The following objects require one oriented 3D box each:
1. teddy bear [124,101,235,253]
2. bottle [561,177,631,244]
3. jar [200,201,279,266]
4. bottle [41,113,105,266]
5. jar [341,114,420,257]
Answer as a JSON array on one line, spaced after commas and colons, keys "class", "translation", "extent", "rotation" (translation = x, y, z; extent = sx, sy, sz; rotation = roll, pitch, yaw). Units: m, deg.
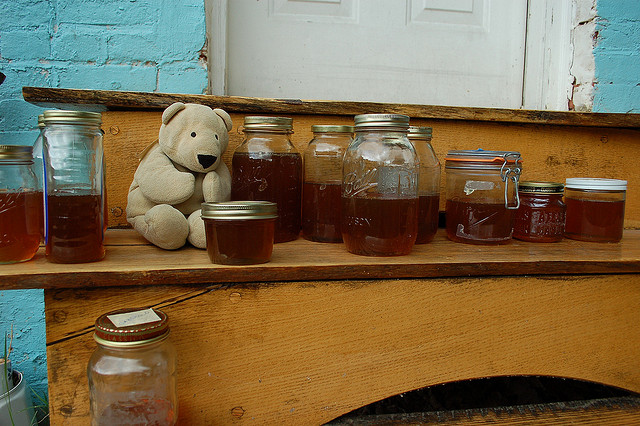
[{"class": "teddy bear", "translation": [-0.362, -0.118, 1.535], "extent": [0.349, 0.361, 0.320], "rotation": [12, 9, 20]}, {"class": "bottle", "translation": [0.802, -0.016, 1.711], "extent": [0.237, 0.209, 0.209], "rotation": [0, 7, -3]}, {"class": "jar", "translation": [-0.197, 0.044, 1.437], "extent": [0.200, 0.143, 0.170], "rotation": [-4, 7, -23]}, {"class": "bottle", "translation": [-0.595, -0.060, 1.336], "extent": [0.144, 0.362, 0.106], "rotation": [-4, 8, -20]}, {"class": "jar", "translation": [0.146, -0.076, 1.505], "extent": [0.339, 0.346, 0.303], "rotation": [1, 5, -15]}]
